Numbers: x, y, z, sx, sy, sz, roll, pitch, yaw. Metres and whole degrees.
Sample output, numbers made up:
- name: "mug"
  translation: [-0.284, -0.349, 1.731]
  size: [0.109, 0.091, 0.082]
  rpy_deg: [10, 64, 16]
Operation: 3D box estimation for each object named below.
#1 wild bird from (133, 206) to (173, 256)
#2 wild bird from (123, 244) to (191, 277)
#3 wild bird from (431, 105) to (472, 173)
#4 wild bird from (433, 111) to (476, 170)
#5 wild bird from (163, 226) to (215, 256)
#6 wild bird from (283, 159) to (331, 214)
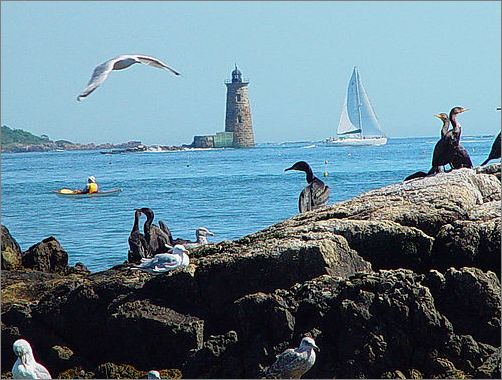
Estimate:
- name: "wild bird"
  translation: [-2.492, 1.115, 26.322]
  size: [0.847, 1.299, 0.500]
  rpy_deg: [-4, -1, -9]
- name: "wild bird"
  translation: [-2.014, 1.672, 23.445]
  size: [1.119, 0.716, 1.341]
  rpy_deg: [-12, 3, -20]
- name: "wild bird"
  translation: [4.963, -1.263, 25.220]
  size: [1.267, 1.568, 0.601]
  rpy_deg: [-9, -17, 32]
- name: "wild bird"
  translation: [4.943, -1.270, 25.221]
  size: [0.986, 1.467, 0.491]
  rpy_deg: [-8, -15, 35]
- name: "wild bird"
  translation: [-1.475, 1.314, 25.667]
  size: [1.251, 0.854, 0.447]
  rpy_deg: [7, 9, 29]
- name: "wild bird"
  translation: [1.550, -0.004, 27.000]
  size: [0.881, 1.491, 0.922]
  rpy_deg: [-2, 6, 18]
